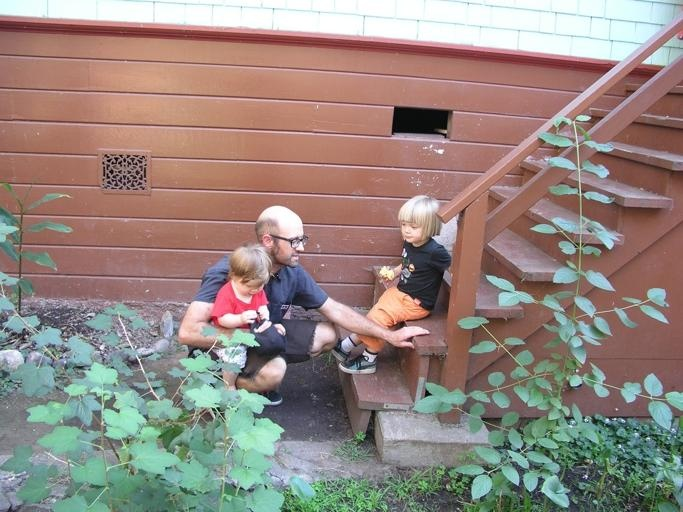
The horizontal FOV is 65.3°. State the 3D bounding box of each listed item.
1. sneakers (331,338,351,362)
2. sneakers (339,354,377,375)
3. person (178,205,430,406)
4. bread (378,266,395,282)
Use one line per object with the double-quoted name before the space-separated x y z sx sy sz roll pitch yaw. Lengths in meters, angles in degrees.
"sneakers" -0.019 0.679 3.865 0.089 0.101 0.233 1 14 -14
"sneakers" 0.121 0.747 3.674 0.217 0.095 0.129 5 9 -7
"person" -0.274 0.314 3.624 1.649 1.130 1.014 -1 12 -23
"bread" 0.381 0.153 4.471 0.046 0.111 0.113 16 2 -26
